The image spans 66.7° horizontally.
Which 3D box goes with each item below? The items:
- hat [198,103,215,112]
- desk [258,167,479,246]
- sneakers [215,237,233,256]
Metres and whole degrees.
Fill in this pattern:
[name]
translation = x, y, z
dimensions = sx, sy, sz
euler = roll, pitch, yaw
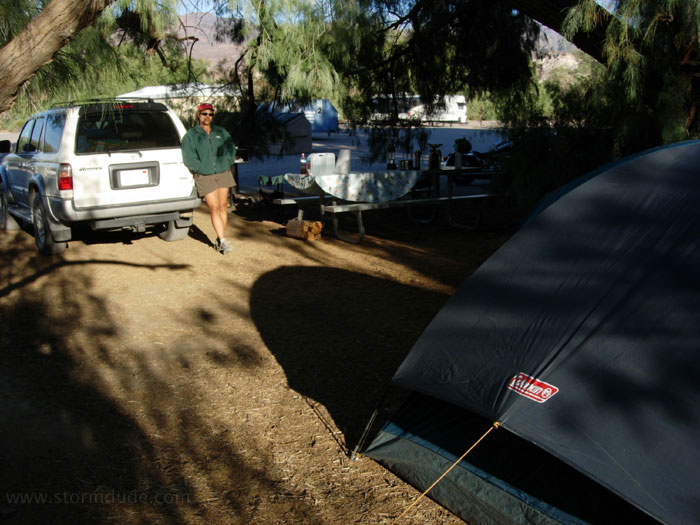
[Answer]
[hat]
translation = -2.240, -2.407, 8.251
dimensions = 0.187, 0.116, 0.301
euler = -1, 13, -22
[desk]
translation = 0.502, -1.359, 10.434
dimensions = 3.433, 1.062, 2.108
euler = -6, 12, -31
[sneakers]
translation = -2.042, -0.295, 8.667
dimensions = 0.145, 0.203, 0.424
euler = -9, 31, -34
